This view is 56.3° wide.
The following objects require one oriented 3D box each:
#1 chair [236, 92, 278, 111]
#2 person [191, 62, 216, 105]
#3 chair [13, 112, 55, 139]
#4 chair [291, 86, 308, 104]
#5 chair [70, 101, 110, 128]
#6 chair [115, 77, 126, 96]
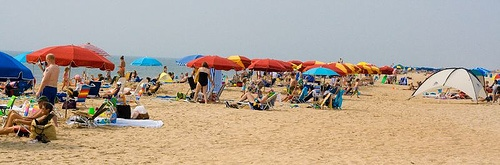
[{"bbox_3d":[0.470,1.295,37.024,3.619,0.959,1.462,2,13,5],"label":"chair"},{"bbox_3d":[-3.781,-0.021,37.553,1.469,3.263,1.440,7,15,8],"label":"person"},{"bbox_3d":[-14.423,2.950,31.477,2.679,1.316,1.664,1,0,-8],"label":"chair"},{"bbox_3d":[4.310,1.181,40.011,1.949,1.517,1.583,11,-9,3],"label":"chair"},{"bbox_3d":[-11.340,2.152,33.161,2.808,1.244,1.499,2,19,-7],"label":"chair"},{"bbox_3d":[-10.138,0.327,37.106,0.820,1.433,0.590,4,2,-41],"label":"chair"}]
